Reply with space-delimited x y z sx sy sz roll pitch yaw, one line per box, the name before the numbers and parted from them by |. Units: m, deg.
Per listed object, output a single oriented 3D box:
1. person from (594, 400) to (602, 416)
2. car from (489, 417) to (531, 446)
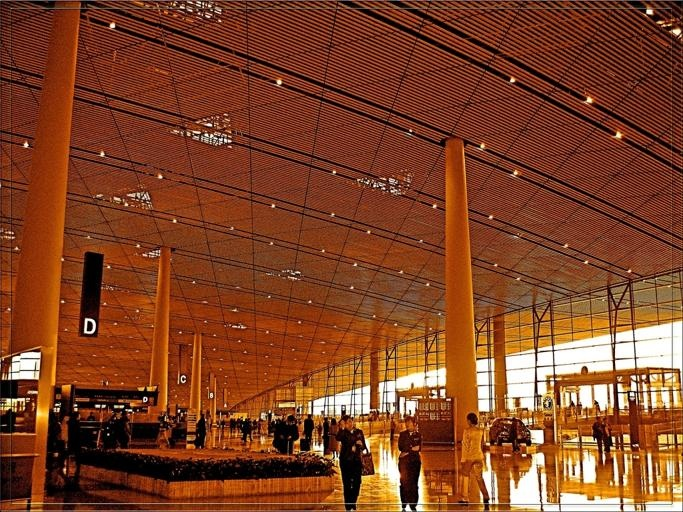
person | 14.625 8.720 34.171 0.327 0.864 1.246 -10 -23 20
car | 8.092 8.295 28.294 1.965 1.138 2.640 6 -25 -11
